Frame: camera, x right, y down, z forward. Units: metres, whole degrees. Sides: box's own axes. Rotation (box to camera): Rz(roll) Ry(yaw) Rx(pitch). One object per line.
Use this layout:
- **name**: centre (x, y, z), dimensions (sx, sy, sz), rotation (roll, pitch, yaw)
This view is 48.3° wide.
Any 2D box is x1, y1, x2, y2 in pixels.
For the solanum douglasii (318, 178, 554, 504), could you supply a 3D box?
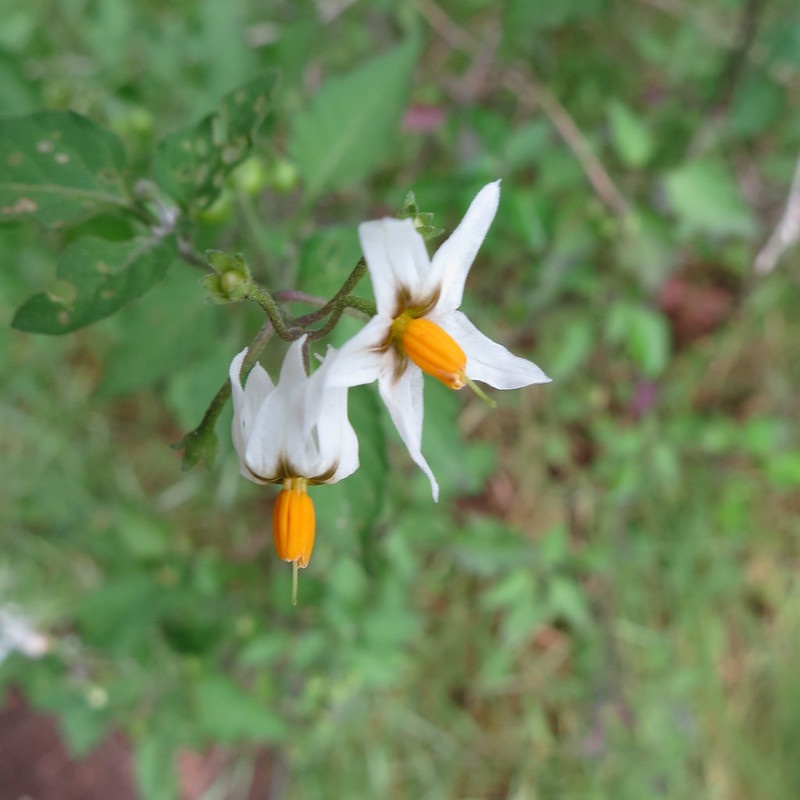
- **solanum douglasii**: centre (0.060, -0.081, 1.320), dimensions (0.377, 0.152, 0.377), rotation (19, 48, -4)
